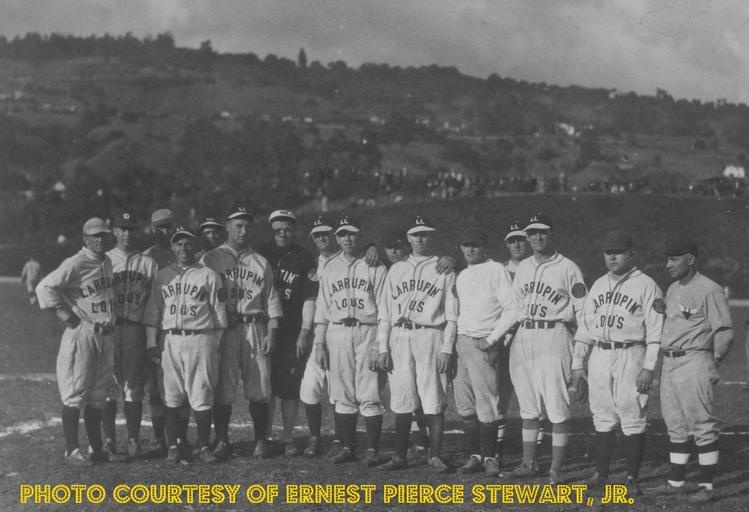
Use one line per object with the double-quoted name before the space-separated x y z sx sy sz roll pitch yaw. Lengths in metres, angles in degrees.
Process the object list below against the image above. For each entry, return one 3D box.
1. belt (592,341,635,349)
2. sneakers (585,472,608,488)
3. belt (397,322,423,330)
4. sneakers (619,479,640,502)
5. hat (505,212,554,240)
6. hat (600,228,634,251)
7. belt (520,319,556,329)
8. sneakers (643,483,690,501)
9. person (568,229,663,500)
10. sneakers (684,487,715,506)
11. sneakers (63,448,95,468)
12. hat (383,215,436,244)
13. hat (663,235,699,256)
"belt" 2.780 0.989 15.360 0.463 0.094 0.069 1 1 13
"sneakers" 2.576 2.532 15.495 0.257 0.143 0.134 -4 5 -11
"belt" 0.425 0.793 15.851 0.305 0.094 0.027 1 1 18
"sneakers" 2.919 2.591 15.293 0.227 0.226 0.176 2 1 31
"hat" 1.864 -0.395 15.923 0.477 0.243 0.296 13 -12 -36
"hat" 2.863 -0.207 15.520 0.249 0.179 0.339 -3 -4 37
"belt" 1.926 0.763 15.648 0.416 0.116 0.044 1 1 19
"sneakers" 3.346 2.637 15.330 0.527 0.189 0.198 2 -6 4
"person" 2.812 1.162 15.450 1.007 2.929 0.355 1 1 26
"sneakers" 3.715 2.646 15.215 0.299 0.173 0.256 1 1 12
"sneakers" -3.477 2.341 15.892 0.372 0.164 0.169 4 15 3
"hat" 0.522 -0.338 16.172 0.600 0.268 0.345 0 -3 -28
"hat" 3.546 -0.136 15.420 0.375 0.186 0.253 0 7 -4
